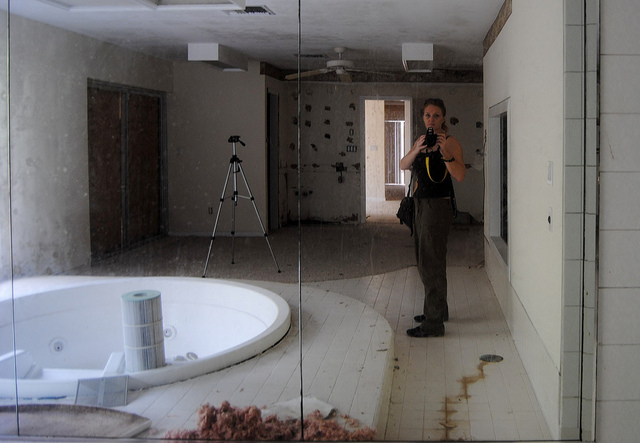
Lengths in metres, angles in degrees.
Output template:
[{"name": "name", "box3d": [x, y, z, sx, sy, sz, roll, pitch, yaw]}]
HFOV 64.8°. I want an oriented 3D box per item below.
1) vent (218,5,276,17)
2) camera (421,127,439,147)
[{"name": "vent", "box3d": [-0.375, -1.102, 2.630, 0.280, 0.068, 0.032, 0, 5, -6]}, {"name": "camera", "box3d": [0.552, -0.422, 2.522, 0.073, 0.082, 0.031, 5, 15, 16]}]
